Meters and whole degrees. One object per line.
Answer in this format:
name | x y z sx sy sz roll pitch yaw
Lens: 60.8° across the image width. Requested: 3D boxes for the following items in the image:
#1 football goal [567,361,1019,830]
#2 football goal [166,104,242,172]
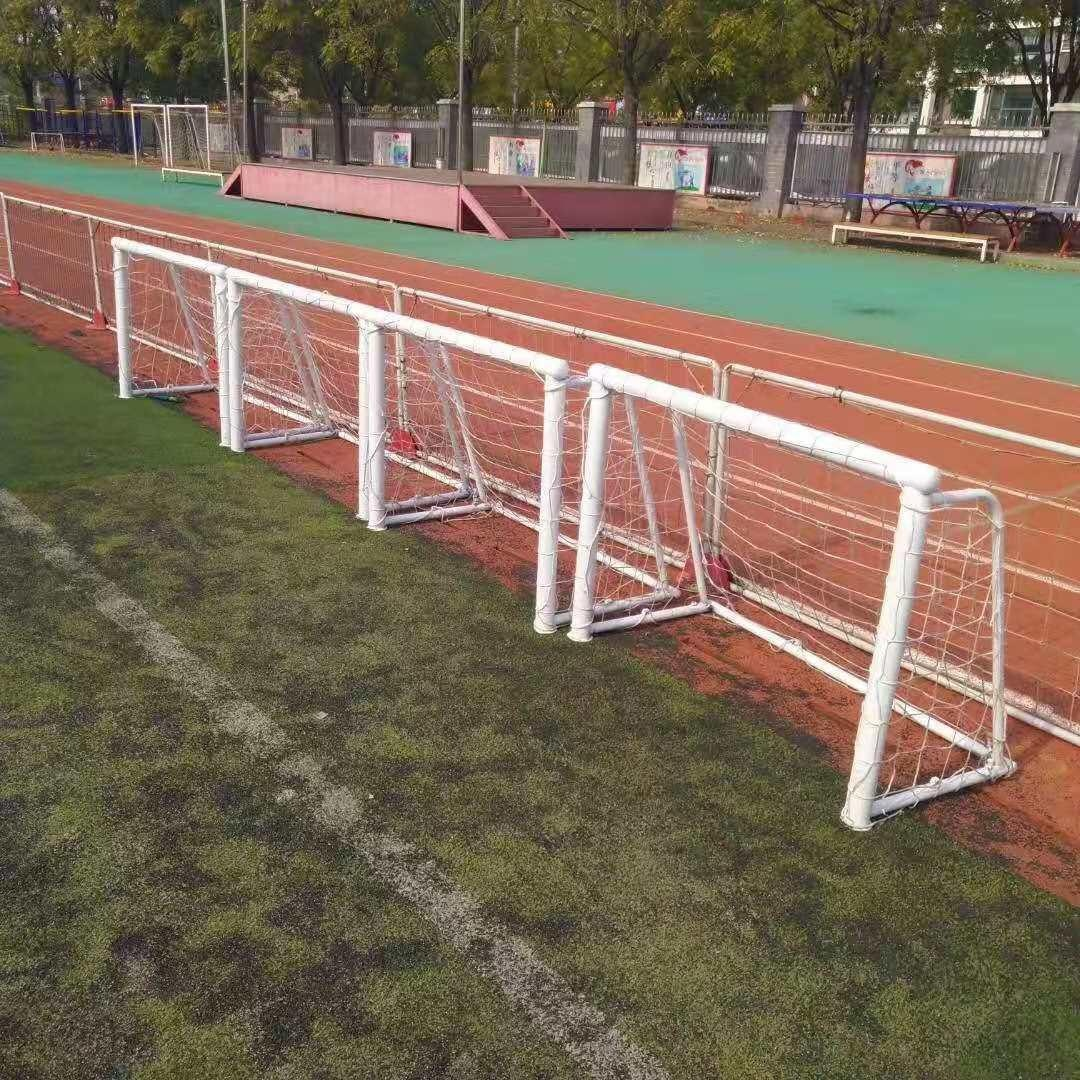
football goal | 1.405 0.336 5.294 0.813 1.526 1.990 -17 27 -26
football goal | -16.786 -20.269 46.080 3.506 2.807 14.133 -4 26 -18
